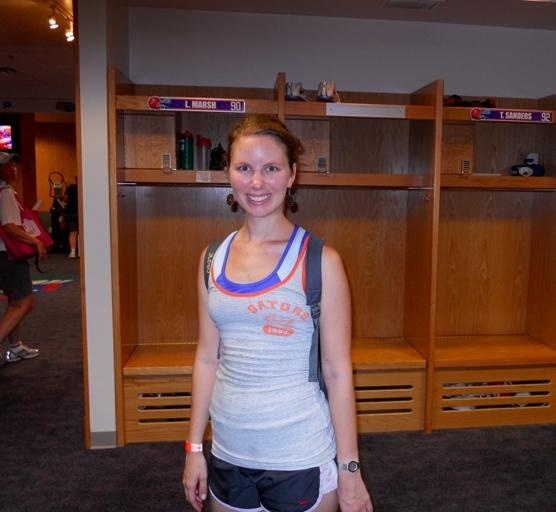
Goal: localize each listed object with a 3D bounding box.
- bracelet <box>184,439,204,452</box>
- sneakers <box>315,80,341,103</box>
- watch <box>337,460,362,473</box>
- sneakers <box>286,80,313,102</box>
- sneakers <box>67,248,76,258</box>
[{"bbox_3d":[-0.271,0.595,1.665,0.046,0.024,0.047,2,-5,2],"label":"bracelet"},{"bbox_3d":[0.334,-1.058,3.532,0.188,0.190,0.141,7,9,1],"label":"sneakers"},{"bbox_3d":[0.212,0.587,1.494,0.040,0.040,0.039,0,-9,2],"label":"watch"},{"bbox_3d":[0.122,-1.069,3.445,0.155,0.126,0.133,-1,9,-4],"label":"sneakers"},{"bbox_3d":[-4.439,-0.070,11.385,0.111,0.217,0.321,2,20,-16],"label":"sneakers"}]
